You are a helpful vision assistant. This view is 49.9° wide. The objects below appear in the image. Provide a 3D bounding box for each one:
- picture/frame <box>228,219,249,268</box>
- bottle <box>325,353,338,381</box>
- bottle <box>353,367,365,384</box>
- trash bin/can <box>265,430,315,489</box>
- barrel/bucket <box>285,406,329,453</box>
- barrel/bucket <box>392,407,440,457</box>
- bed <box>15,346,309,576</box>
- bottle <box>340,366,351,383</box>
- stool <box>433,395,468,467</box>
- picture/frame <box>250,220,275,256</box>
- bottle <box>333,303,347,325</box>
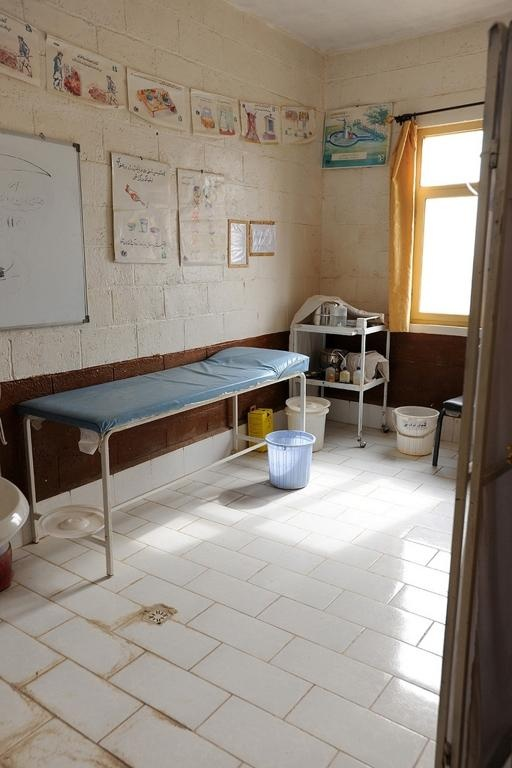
[{"bbox_3d":[-0.133,-1.009,3.908,0.025,0.380,0.329,4,10,26],"label":"picture/frame"},{"bbox_3d":[0.591,-0.143,4.345,0.107,0.229,0.134,1,10,7],"label":"bottle"},{"bbox_3d":[0.771,-0.058,4.152,0.086,0.125,0.177,2,10,10],"label":"bottle"},{"bbox_3d":[0.223,0.464,3.549,0.332,0.332,0.333,-7,9,-35],"label":"trash bin/can"},{"bbox_3d":[0.396,0.297,4.175,0.381,0.418,0.294,-2,2,-6],"label":"barrel/bucket"},{"bbox_3d":[1.190,0.363,4.178,0.337,0.293,0.367,-4,9,1],"label":"barrel/bucket"},{"bbox_3d":[-0.402,0.324,3.225,0.553,0.864,1.756,10,16,32],"label":"bed"},{"bbox_3d":[0.678,-0.065,4.255,0.088,0.101,0.103,3,10,18],"label":"bottle"},{"bbox_3d":[1.383,0.358,3.876,0.239,0.446,0.322,5,-3,18],"label":"stool"},{"bbox_3d":[0.046,-1.099,4.160,0.023,0.272,0.346,6,12,32],"label":"picture/frame"},{"bbox_3d":[0.642,-0.528,4.204,0.136,0.160,0.048,-8,13,-40],"label":"bottle"}]
